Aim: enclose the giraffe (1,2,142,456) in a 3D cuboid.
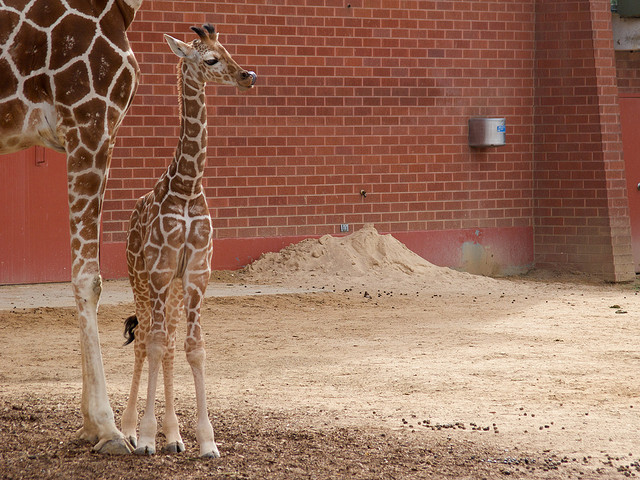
[{"bbox_3d":[-2.349,-0.139,10.104,1.263,4.256,0.930,-1,8,-11],"label":"giraffe"}]
